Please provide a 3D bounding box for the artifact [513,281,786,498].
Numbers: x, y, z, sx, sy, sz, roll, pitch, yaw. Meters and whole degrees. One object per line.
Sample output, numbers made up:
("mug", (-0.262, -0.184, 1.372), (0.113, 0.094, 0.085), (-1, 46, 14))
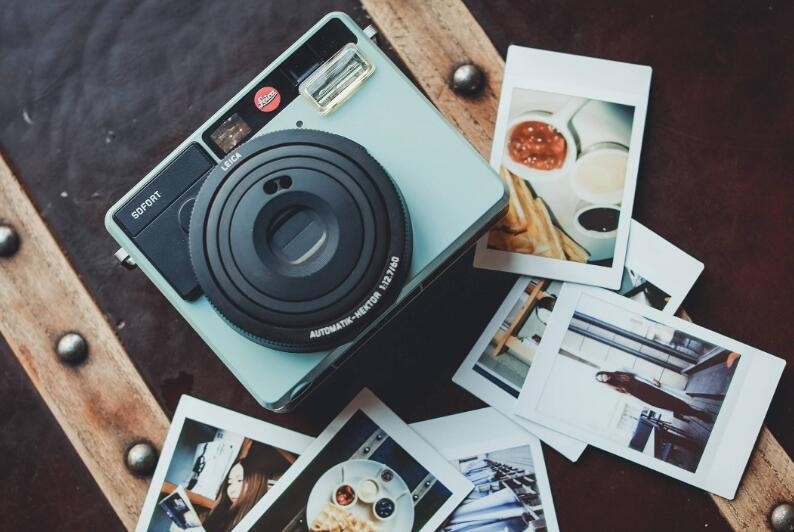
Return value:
("artifact", (0.387, 0.136, 1.031), (0.081, 0.387, 0.285), (-52, -15, -86))
